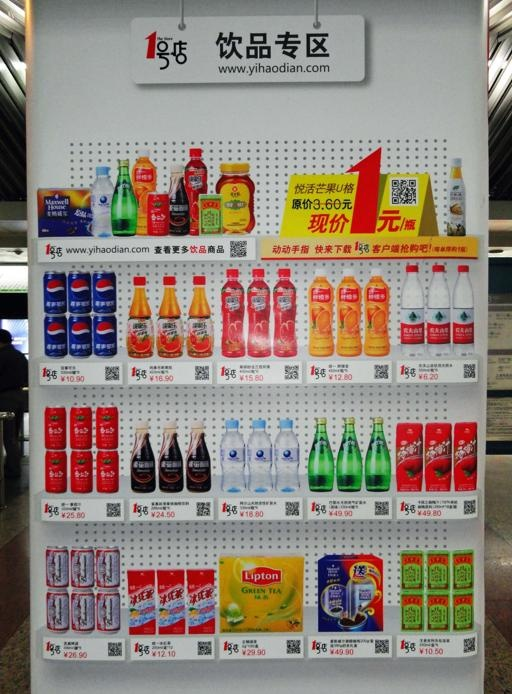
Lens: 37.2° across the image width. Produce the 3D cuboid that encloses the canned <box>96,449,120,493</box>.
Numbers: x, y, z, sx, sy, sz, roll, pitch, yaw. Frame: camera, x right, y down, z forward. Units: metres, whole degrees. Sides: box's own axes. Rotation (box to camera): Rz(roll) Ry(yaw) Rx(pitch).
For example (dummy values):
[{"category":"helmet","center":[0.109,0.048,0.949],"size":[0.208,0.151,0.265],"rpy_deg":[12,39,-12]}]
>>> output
[{"category":"canned","center":[-0.517,0.426,2.623],"size":[0.080,0.147,0.077],"rpy_deg":[-5,19,-10]}]

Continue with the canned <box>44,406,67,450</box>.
[{"category":"canned","center":[-0.703,0.272,2.657],"size":[0.081,0.148,0.109],"rpy_deg":[-8,20,-18]}]

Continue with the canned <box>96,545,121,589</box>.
[{"category":"canned","center":[-0.515,0.767,2.639],"size":[0.085,0.133,0.082],"rpy_deg":[-7,20,-16]}]

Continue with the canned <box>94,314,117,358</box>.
[{"category":"canned","center":[-0.525,-0.044,2.628],"size":[0.083,0.143,0.068],"rpy_deg":[-7,19,-17]}]

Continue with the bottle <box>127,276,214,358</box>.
[{"category":"bottle","center":[-0.294,-0.107,2.660],"size":[0.236,0.263,0.097],"rpy_deg":[1,-8,-7]}]

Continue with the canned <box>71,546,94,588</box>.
[{"category":"canned","center":[-0.605,0.767,2.637],"size":[0.083,0.129,0.073],"rpy_deg":[-5,19,-10]}]

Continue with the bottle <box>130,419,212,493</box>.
[{"category":"bottle","center":[-0.303,0.386,2.673],"size":[0.197,0.203,0.071],"rpy_deg":[1,-9,-7]}]

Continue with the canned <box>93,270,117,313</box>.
[{"category":"canned","center":[-0.527,-0.197,2.632],"size":[0.085,0.139,0.088],"rpy_deg":[-7,20,-16]}]

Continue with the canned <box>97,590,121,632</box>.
[{"category":"canned","center":[-0.515,0.921,2.627],"size":[0.084,0.156,0.067],"rpy_deg":[-5,18,-10]}]

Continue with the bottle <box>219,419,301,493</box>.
[{"category":"bottle","center":[0.016,0.385,2.657],"size":[0.197,0.210,0.073],"rpy_deg":[1,-10,-6]}]

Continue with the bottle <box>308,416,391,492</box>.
[{"category":"bottle","center":[0.329,0.383,2.690],"size":[0.206,0.222,0.081],"rpy_deg":[0,-4,4]}]

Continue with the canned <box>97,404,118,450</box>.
[{"category":"canned","center":[-0.518,0.275,2.630],"size":[0.082,0.155,0.073],"rpy_deg":[-16,23,-37]}]

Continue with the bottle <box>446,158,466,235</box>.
[{"category":"bottle","center":[0.703,-0.535,2.657],"size":[0.060,0.246,0.138],"rpy_deg":[3,19,14]}]

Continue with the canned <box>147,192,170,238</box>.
[{"category":"canned","center":[-0.335,-0.463,2.602],"size":[0.078,0.141,0.049],"rpy_deg":[-5,18,-10]}]

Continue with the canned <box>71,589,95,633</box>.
[{"category":"canned","center":[-0.601,0.918,2.621],"size":[0.080,0.142,0.061],"rpy_deg":[-1,18,2]}]
